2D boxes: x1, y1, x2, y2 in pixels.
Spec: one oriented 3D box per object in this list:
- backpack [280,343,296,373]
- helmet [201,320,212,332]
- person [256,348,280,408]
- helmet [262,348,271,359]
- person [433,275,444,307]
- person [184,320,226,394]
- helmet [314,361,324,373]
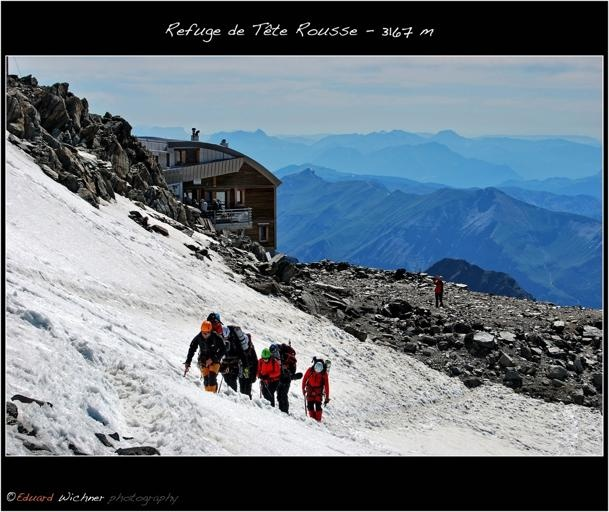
[{"bbox_3d":[-0.371,2.659,16.169,0.628,0.638,0.486,2,-2,5],"label":"backpack"},{"bbox_3d":[-2.228,1.619,14.181,0.217,0.278,0.282,7,8,-4],"label":"helmet"},{"bbox_3d":[-0.910,3.110,15.872,0.690,1.551,0.466,10,13,43],"label":"person"},{"bbox_3d":[-0.951,2.468,15.656,0.177,0.198,0.241,2,18,2],"label":"helmet"},{"bbox_3d":[6.899,1.808,31.578,0.398,1.455,1.692,3,10,12],"label":"person"},{"bbox_3d":[-2.310,2.332,14.466,0.923,1.771,0.713,0,10,-8],"label":"person"},{"bbox_3d":[0.388,2.866,16.169,0.252,0.315,0.213,1,10,1],"label":"helmet"}]
